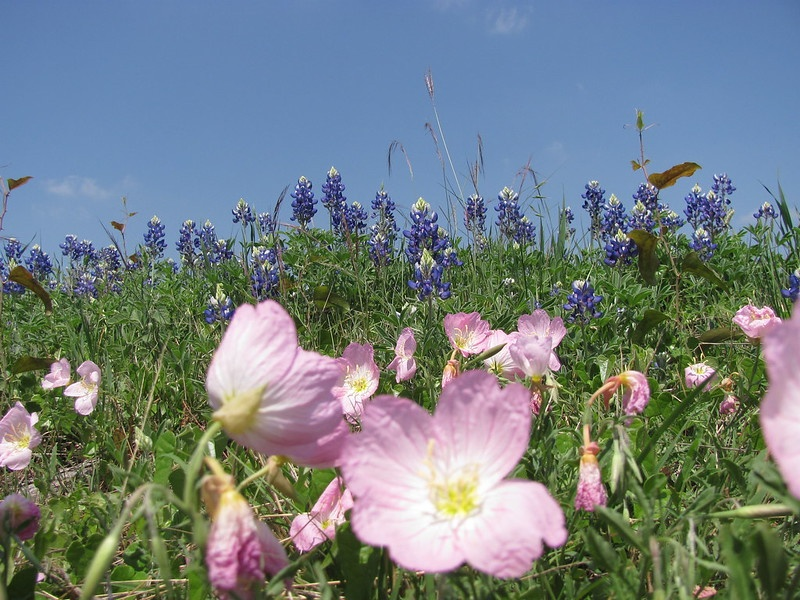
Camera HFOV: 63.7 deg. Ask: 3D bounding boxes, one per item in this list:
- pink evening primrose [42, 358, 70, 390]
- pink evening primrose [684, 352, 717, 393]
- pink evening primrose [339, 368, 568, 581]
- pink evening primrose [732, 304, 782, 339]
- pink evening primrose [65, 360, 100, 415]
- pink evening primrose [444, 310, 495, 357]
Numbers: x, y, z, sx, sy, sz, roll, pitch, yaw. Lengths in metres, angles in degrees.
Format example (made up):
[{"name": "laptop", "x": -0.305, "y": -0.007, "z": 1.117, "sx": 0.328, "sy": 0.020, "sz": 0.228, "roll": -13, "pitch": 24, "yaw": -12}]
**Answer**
[{"name": "pink evening primrose", "x": -1.559, "y": 0.347, "z": 2.965, "sx": 0.126, "sy": 0.164, "sz": 0.069, "roll": -3, "pitch": -9, "yaw": 31}, {"name": "pink evening primrose", "x": 1.318, "y": 0.318, "z": 2.826, "sx": 0.110, "sy": 0.073, "sz": 0.119, "roll": -31, "pitch": 37, "yaw": -16}, {"name": "pink evening primrose", "x": 0.109, "y": 0.420, "z": 1.510, "sx": 0.476, "sy": 0.394, "sz": 0.237, "roll": -9, "pitch": 3, "yaw": -9}, {"name": "pink evening primrose", "x": 1.440, "y": 0.085, "z": 2.603, "sx": 0.131, "sy": 0.155, "sz": 0.103, "roll": -4, "pitch": -34, "yaw": 34}, {"name": "pink evening primrose", "x": -1.314, "y": 0.359, "z": 2.705, "sx": 0.193, "sy": 0.227, "sz": 0.105, "roll": -38, "pitch": -29, "yaw": 31}, {"name": "pink evening primrose", "x": 0.276, "y": 0.141, "z": 2.591, "sx": 0.165, "sy": 0.190, "sz": 0.088, "roll": -25, "pitch": -3, "yaw": -29}]
